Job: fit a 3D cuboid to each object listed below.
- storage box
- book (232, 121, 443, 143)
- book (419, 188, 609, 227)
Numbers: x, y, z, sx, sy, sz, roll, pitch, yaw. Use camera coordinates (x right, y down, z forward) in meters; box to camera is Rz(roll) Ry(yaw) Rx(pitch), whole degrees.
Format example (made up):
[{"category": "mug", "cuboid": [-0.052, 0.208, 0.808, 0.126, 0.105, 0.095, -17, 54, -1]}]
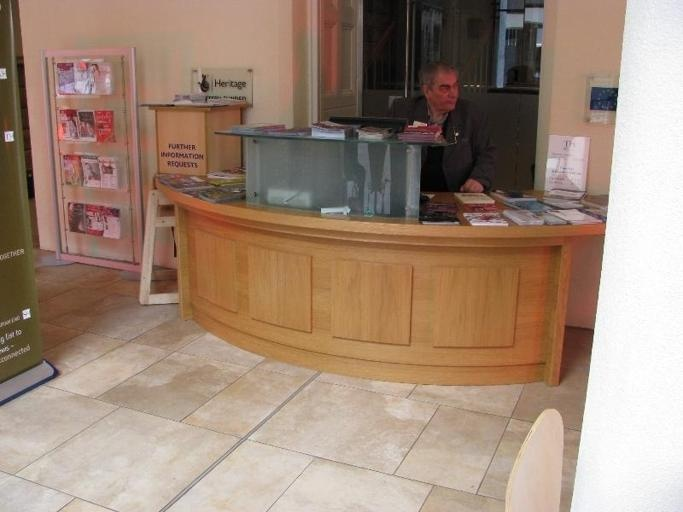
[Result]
[{"category": "storage box", "cuboid": [-1.277, -1.080, 4.855, 0.850, 0.611, 0.408, -6, 17, -15]}, {"category": "book", "cuboid": [-0.028, -0.819, 3.481, 1.453, 0.128, 0.394, 3, 16, 16]}, {"category": "book", "cuboid": [1.169, -0.333, 3.611, 1.283, 0.098, 0.886, 0, 15, 4]}]
